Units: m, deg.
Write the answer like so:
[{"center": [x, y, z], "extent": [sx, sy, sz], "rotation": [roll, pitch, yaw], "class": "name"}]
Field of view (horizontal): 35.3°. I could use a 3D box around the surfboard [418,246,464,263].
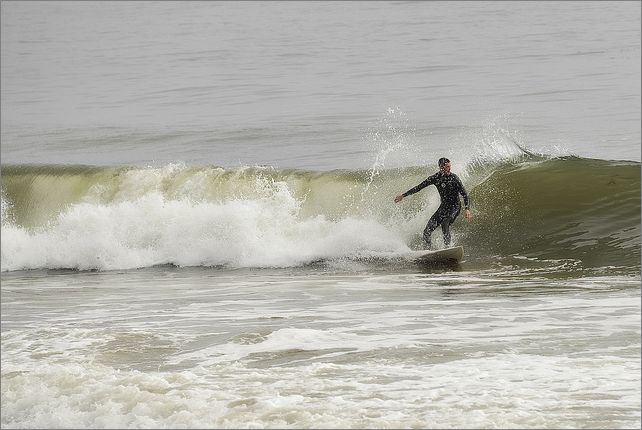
[{"center": [2.910, 1.011, 24.576], "extent": [0.387, 0.213, 1.294], "rotation": [23, -21, -26], "class": "surfboard"}]
